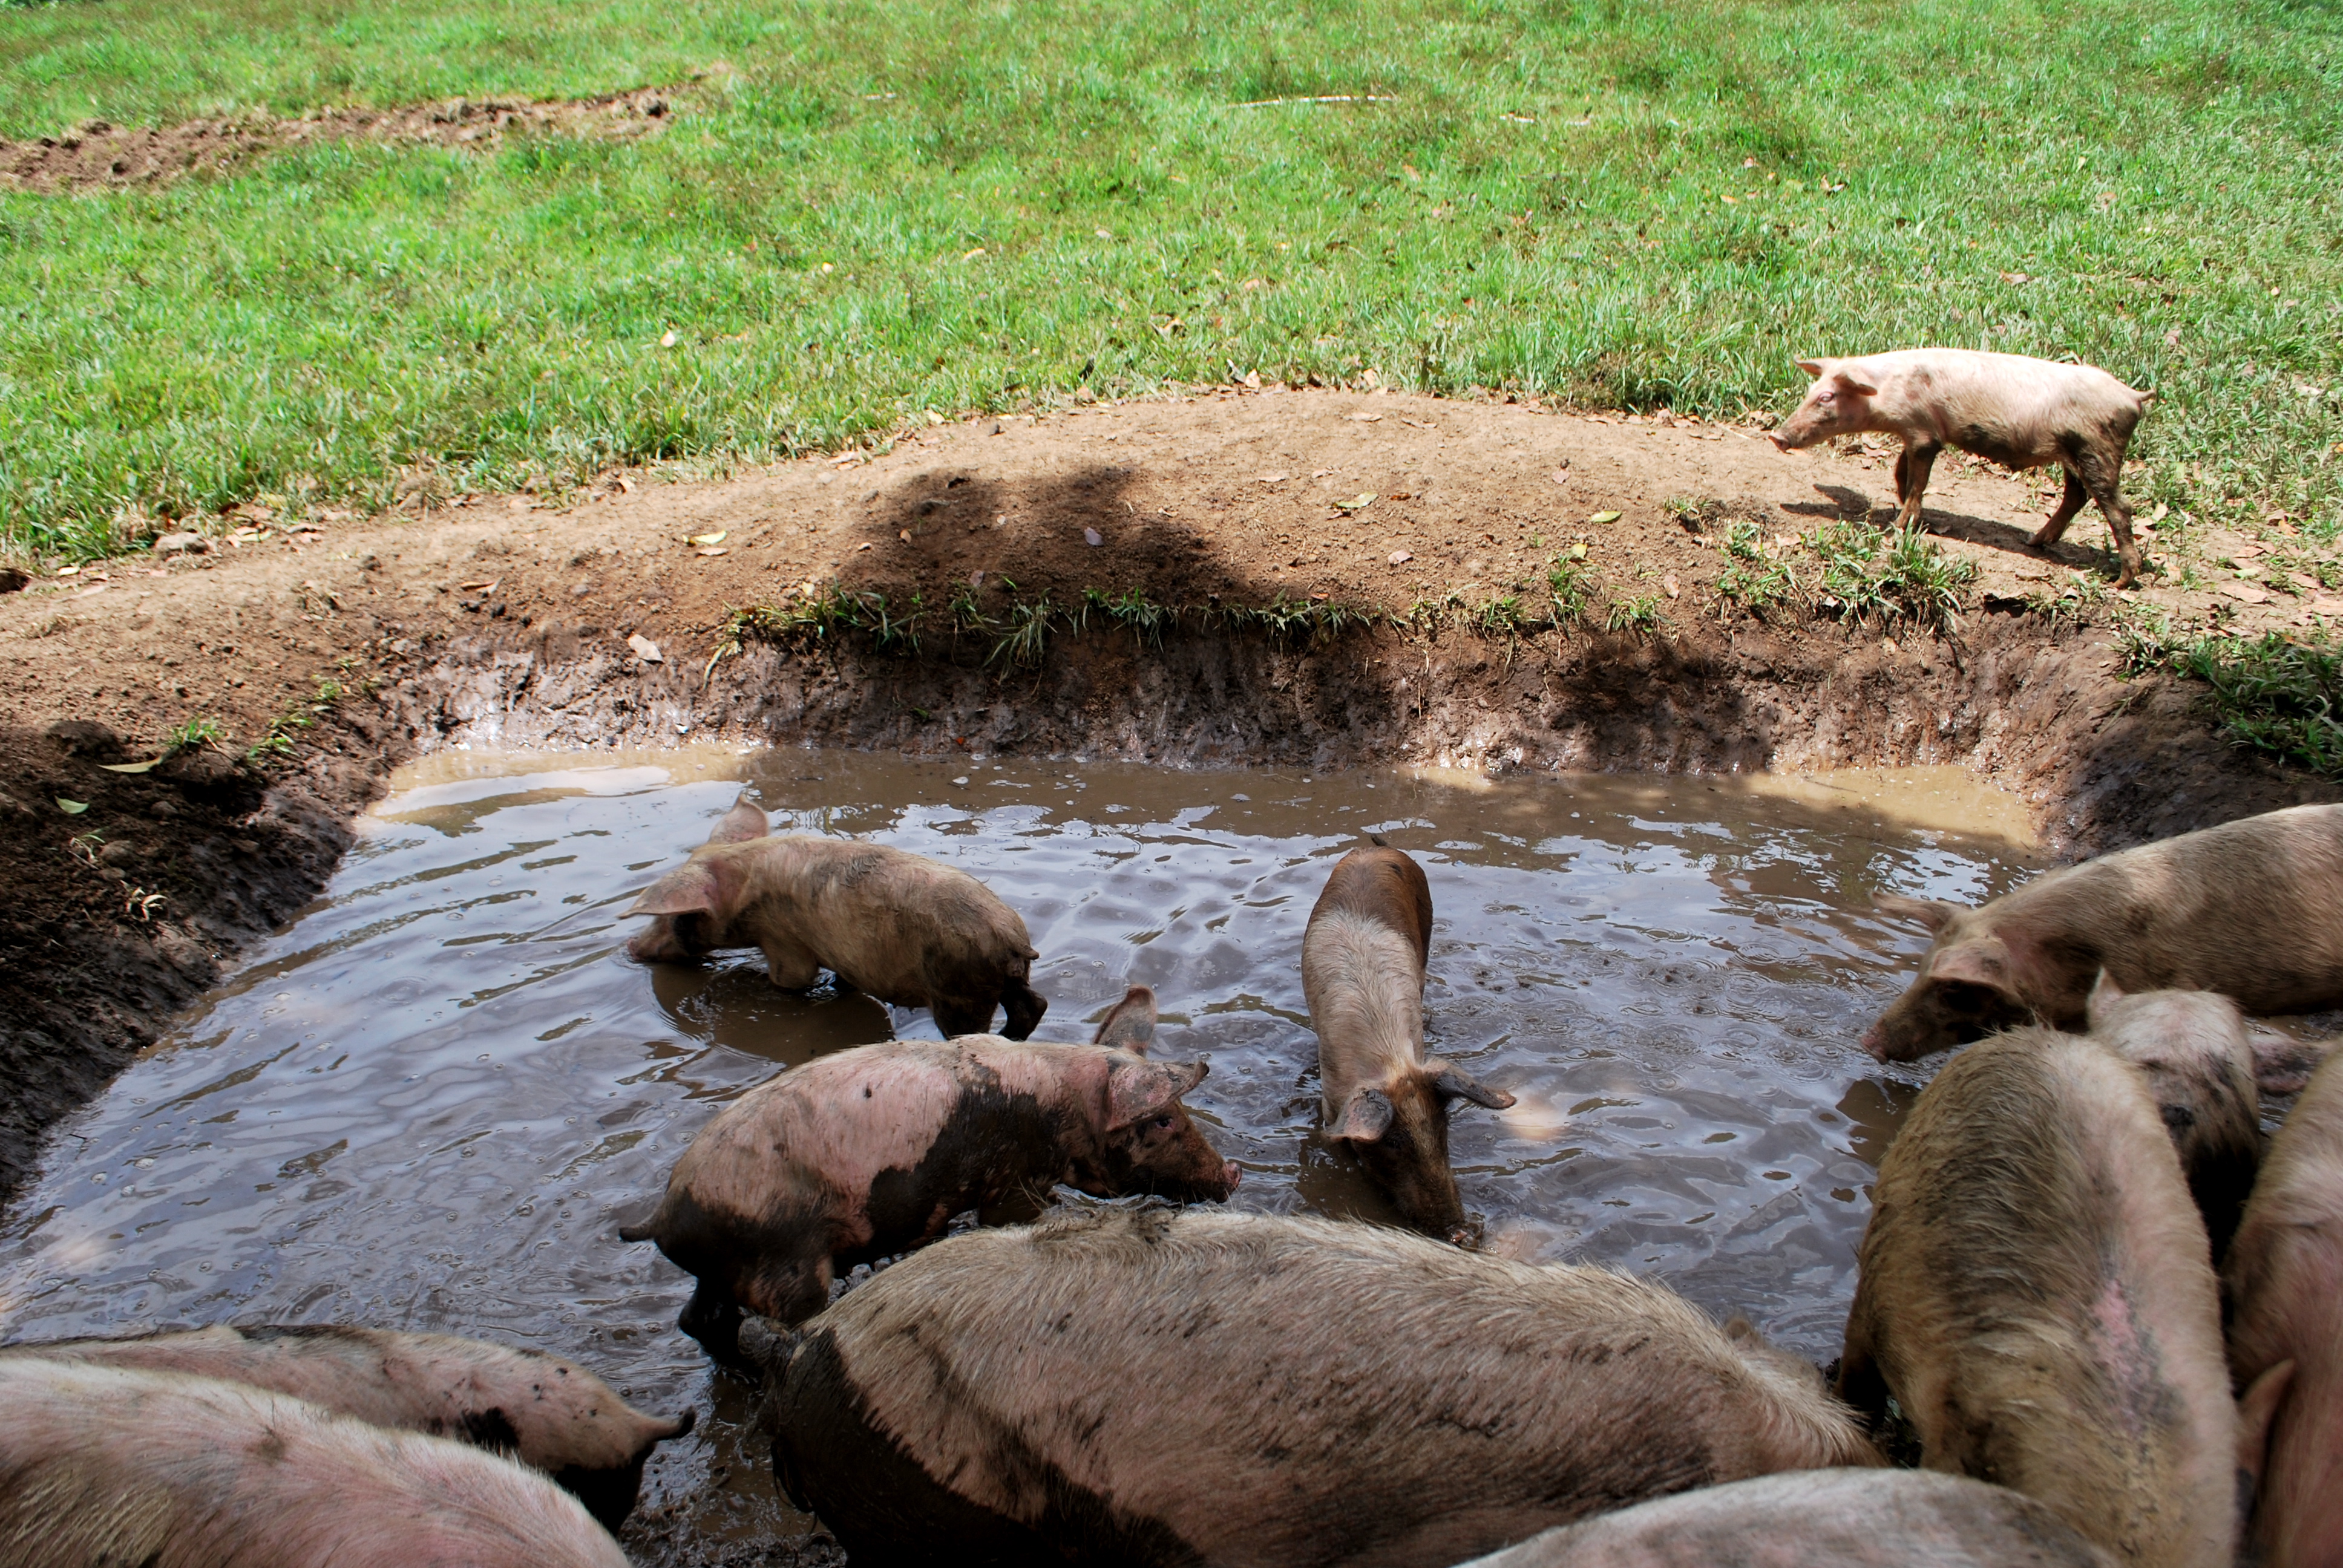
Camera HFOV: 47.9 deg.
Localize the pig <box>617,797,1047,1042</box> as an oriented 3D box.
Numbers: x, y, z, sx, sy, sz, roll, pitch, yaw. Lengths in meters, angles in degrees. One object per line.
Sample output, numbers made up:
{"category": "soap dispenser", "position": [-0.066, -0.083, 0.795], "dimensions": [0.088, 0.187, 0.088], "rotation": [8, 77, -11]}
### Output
{"category": "pig", "position": [-1.747, 0.750, 14.280], "dimensions": [3.634, 1.319, 1.453], "rotation": [-1, -4, 23]}
